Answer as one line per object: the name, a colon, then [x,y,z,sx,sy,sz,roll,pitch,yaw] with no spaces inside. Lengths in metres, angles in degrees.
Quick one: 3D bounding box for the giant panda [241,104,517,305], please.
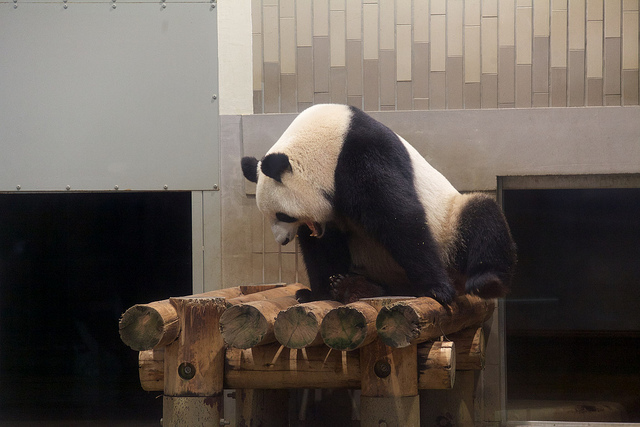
giant panda: [0.593,-0.028,12.029,3.049,2.269,1.999,3,-12,-36]
